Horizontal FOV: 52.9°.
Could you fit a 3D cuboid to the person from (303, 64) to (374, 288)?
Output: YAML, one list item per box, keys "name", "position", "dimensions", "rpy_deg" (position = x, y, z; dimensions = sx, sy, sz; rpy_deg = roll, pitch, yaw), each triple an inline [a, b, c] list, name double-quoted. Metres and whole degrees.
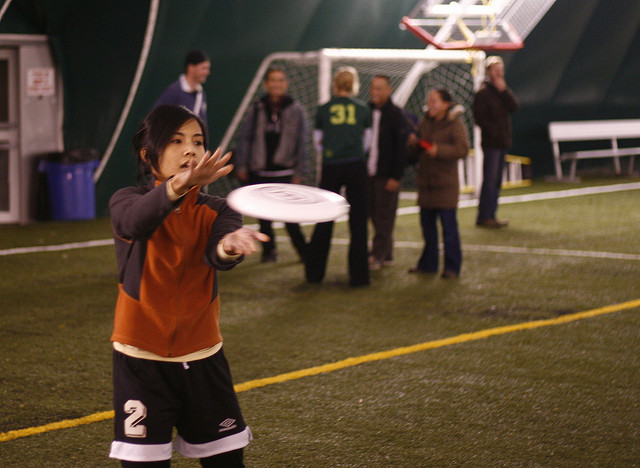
- name: "person"
  position: [0.155, -0.536, 5.879]
  dimensions: [0.659, 1.941, 0.915]
  rpy_deg: [-1, 12, 4]

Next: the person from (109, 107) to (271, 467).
- name: "person"
  position: [-0.475, 0.253, 2.267]
  dimensions: [0.553, 1.372, 0.388]
  rpy_deg: [-3, 12, -5]

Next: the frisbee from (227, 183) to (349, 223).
- name: "frisbee"
  position: [-0.093, -0.111, 2.285]
  dimensions: [0.359, 0.112, 0.485]
  rpy_deg: [4, 12, 24]

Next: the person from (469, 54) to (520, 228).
- name: "person"
  position: [2.235, -1.143, 8.203]
  dimensions: [0.541, 2.182, 0.494]
  rpy_deg: [2, 13, 15]

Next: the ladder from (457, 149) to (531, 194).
- name: "ladder"
  position: [3.453, -1.307, 12.574]
  dimensions: [0.920, 0.849, 2.635]
  rpy_deg: [8, 15, 38]

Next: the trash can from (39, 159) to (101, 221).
- name: "trash can"
  position: [-3.728, -0.703, 9.689]
  dimensions: [0.866, 1.021, 1.146]
  rpy_deg: [-4, 7, -23]
